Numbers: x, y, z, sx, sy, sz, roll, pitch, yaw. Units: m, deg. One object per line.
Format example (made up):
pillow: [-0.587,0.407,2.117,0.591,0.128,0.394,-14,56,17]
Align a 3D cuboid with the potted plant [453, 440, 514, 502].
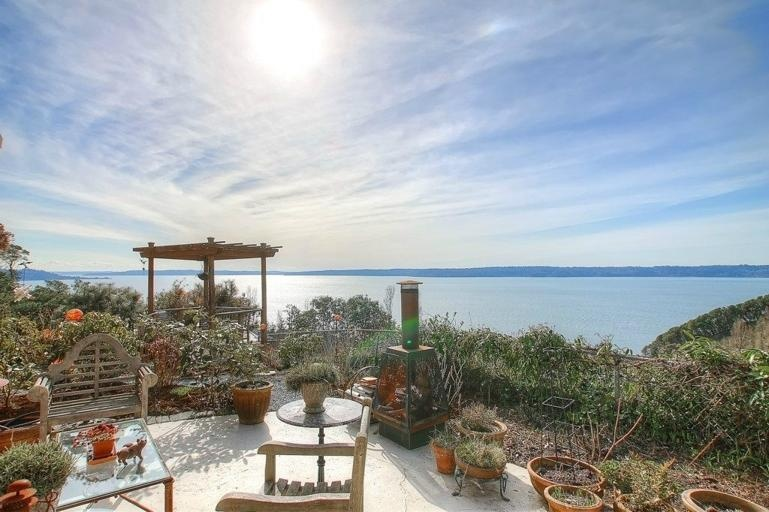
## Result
potted plant: [1.686,3.672,7.120,0.963,0.731,0.837,-7,-14,24]

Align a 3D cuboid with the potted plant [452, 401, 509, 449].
potted plant: [1.821,3.204,7.855,0.923,0.799,0.817,3,-5,-12]

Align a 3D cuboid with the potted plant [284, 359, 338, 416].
potted plant: [-1.198,2.154,6.850,0.852,0.725,0.801,-1,-5,-19]

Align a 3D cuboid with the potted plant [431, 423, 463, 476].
potted plant: [1.088,3.565,7.643,0.675,0.712,0.759,0,-4,-6]

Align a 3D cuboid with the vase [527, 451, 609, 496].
vase: [3.057,3.660,6.877,0.791,0.249,0.744,-4,-10,15]

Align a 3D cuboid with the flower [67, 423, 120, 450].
flower: [-4.431,2.722,6.202,0.563,0.172,0.569,4,-10,-29]

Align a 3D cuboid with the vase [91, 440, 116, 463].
vase: [-4.257,2.912,6.214,0.336,0.283,0.324,2,-4,-27]
